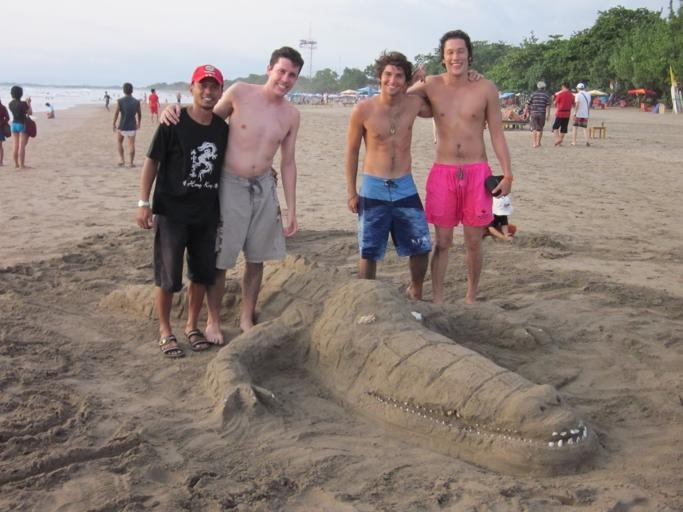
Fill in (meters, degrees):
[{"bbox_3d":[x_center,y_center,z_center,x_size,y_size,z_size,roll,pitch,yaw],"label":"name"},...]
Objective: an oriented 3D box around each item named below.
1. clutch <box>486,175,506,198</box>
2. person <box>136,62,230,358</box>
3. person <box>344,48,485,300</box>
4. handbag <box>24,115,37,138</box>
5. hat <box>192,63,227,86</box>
[{"bbox_3d":[1.362,-0.650,5.775,0.066,0.184,0.184,-29,7,47],"label":"clutch"},{"bbox_3d":[-1.233,-0.346,5.091,0.743,2.243,0.418,-4,13,-18],"label":"person"},{"bbox_3d":[0.440,-0.667,5.766,0.796,2.219,0.515,0,12,0],"label":"person"},{"bbox_3d":[-6.376,-2.651,13.092,0.190,0.417,0.452,-6,15,-26],"label":"handbag"},{"bbox_3d":[-1.019,-1.372,4.868,0.220,0.140,0.204,-4,14,-17],"label":"hat"}]
